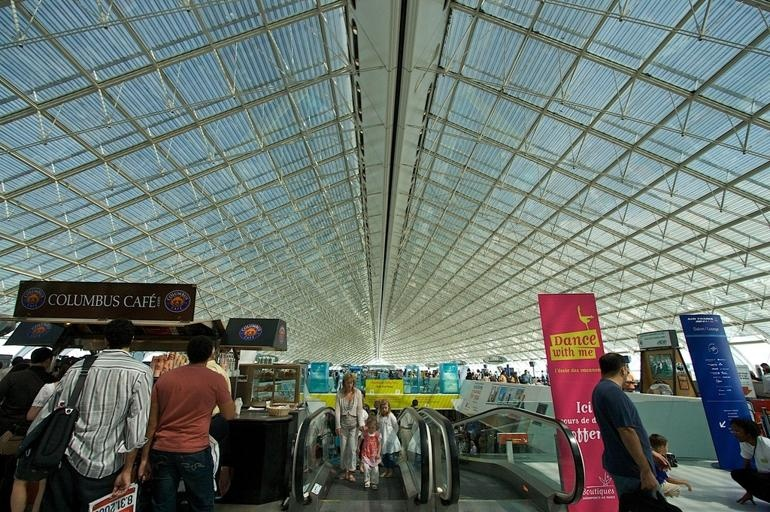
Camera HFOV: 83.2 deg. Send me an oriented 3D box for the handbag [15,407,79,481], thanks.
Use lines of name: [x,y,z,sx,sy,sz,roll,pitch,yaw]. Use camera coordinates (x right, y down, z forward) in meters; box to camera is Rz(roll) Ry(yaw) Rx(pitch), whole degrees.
handbag: [-3.993,2.175,5.239,0.674,0.816,0.329,-30,-46,15]

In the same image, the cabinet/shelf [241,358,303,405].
cabinet/shelf: [-2.700,3.256,11.201,1.799,0.929,0.922,-6,-15,19]

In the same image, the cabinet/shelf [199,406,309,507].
cabinet/shelf: [-2.608,3.885,8.952,1.923,1.158,1.539,2,-11,-16]
